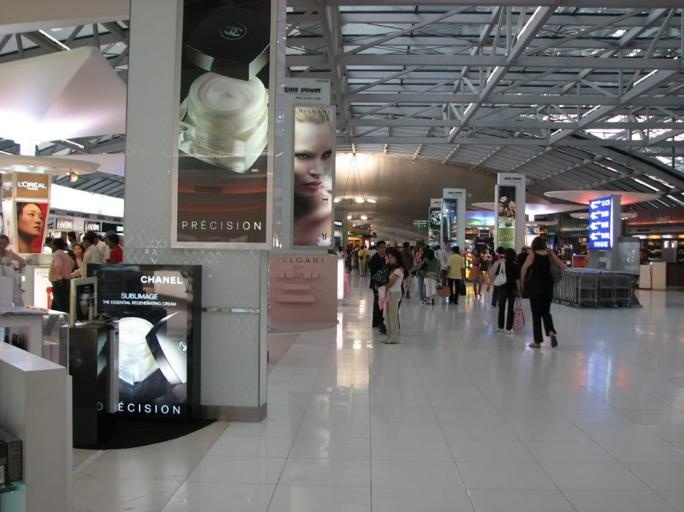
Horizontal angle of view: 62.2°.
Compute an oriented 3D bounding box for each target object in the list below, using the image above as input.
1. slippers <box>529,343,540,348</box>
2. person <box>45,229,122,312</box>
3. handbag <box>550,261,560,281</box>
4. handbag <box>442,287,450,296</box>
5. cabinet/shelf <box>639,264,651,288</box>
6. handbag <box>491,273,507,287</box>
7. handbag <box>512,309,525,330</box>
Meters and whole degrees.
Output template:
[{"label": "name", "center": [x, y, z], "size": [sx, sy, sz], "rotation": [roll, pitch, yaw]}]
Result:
[{"label": "slippers", "center": [2.978, 1.400, 8.800], "size": [0.063, 0.055, 0.130], "rotation": [-2, 7, -32]}, {"label": "person", "center": [-4.491, 0.299, 9.770], "size": [0.903, 1.457, 3.109], "rotation": [-2, 5, -31]}, {"label": "handbag", "center": [3.278, 0.258, 8.701], "size": [0.143, 0.299, 0.143], "rotation": [2, 5, 20]}, {"label": "handbag", "center": [2.901, 1.020, 15.871], "size": [0.162, 0.176, 0.292], "rotation": [-3, -12, -4]}, {"label": "cabinet/shelf", "center": [11.615, 0.804, 21.761], "size": [0.341, 0.950, 0.610], "rotation": [-2, 5, -36]}, {"label": "handbag", "center": [2.740, 0.422, 9.877], "size": [0.100, 0.257, 0.219], "rotation": [13, -16, -39]}, {"label": "handbag", "center": [3.142, 1.159, 10.124], "size": [0.221, 0.433, 0.445], "rotation": [0, -2, 15]}]
